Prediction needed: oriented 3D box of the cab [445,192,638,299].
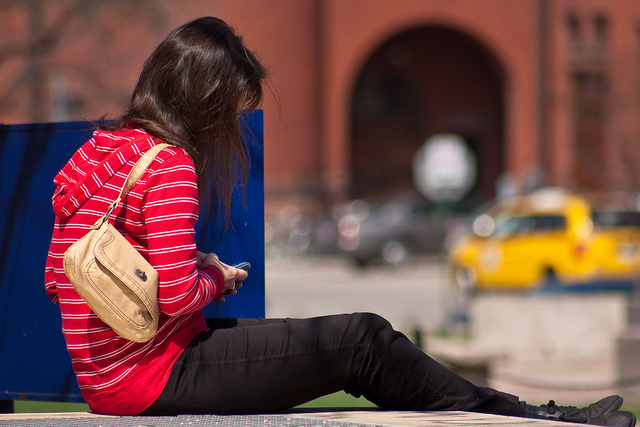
[{"bbox_3d":[2.871,0.349,19.080,2.157,0.972,1.259,1,1,20],"label":"cab"}]
